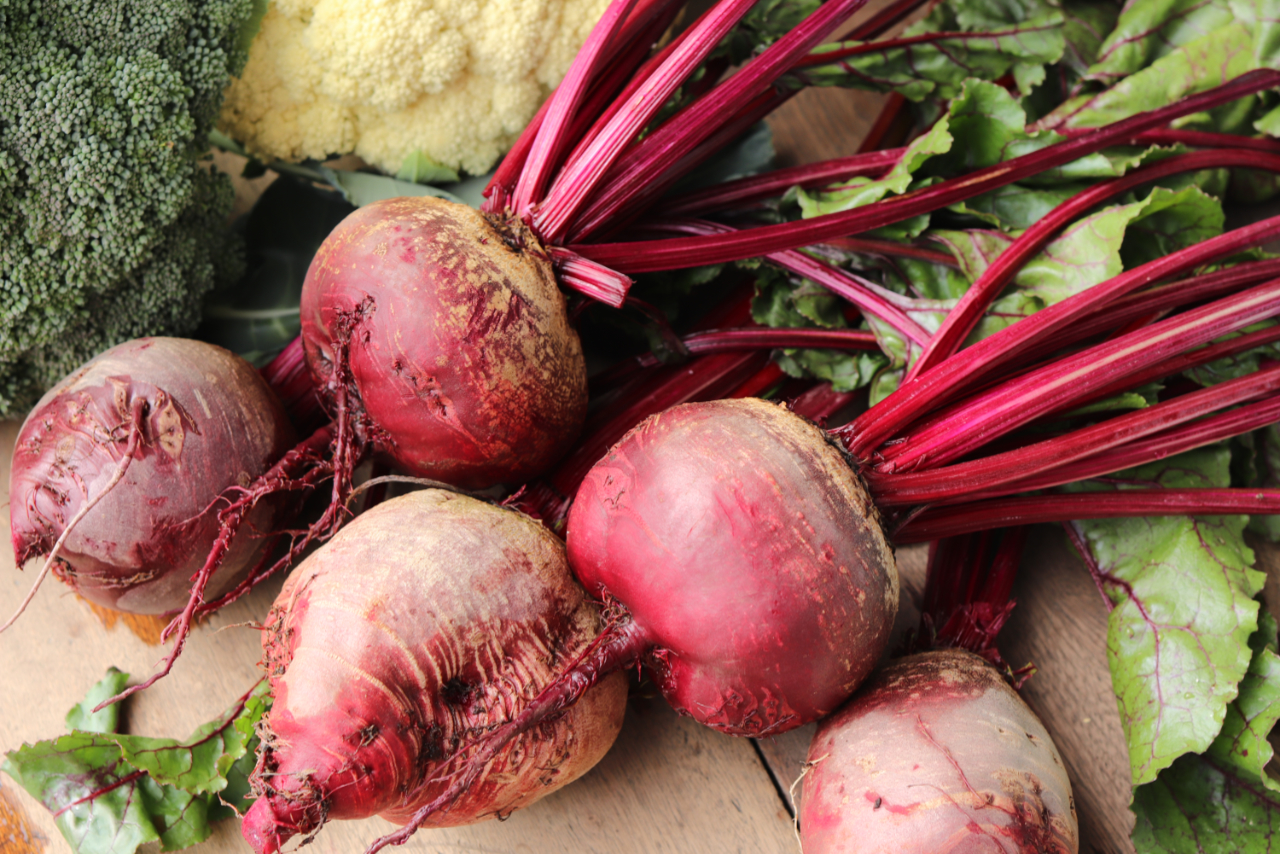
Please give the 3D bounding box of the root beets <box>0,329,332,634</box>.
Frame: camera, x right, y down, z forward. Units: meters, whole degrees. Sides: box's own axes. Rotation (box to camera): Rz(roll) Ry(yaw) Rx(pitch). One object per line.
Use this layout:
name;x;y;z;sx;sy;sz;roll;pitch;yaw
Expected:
root beets;-0.755;0.071;2.009;0.386;0.388;0.499;52;46;-1
